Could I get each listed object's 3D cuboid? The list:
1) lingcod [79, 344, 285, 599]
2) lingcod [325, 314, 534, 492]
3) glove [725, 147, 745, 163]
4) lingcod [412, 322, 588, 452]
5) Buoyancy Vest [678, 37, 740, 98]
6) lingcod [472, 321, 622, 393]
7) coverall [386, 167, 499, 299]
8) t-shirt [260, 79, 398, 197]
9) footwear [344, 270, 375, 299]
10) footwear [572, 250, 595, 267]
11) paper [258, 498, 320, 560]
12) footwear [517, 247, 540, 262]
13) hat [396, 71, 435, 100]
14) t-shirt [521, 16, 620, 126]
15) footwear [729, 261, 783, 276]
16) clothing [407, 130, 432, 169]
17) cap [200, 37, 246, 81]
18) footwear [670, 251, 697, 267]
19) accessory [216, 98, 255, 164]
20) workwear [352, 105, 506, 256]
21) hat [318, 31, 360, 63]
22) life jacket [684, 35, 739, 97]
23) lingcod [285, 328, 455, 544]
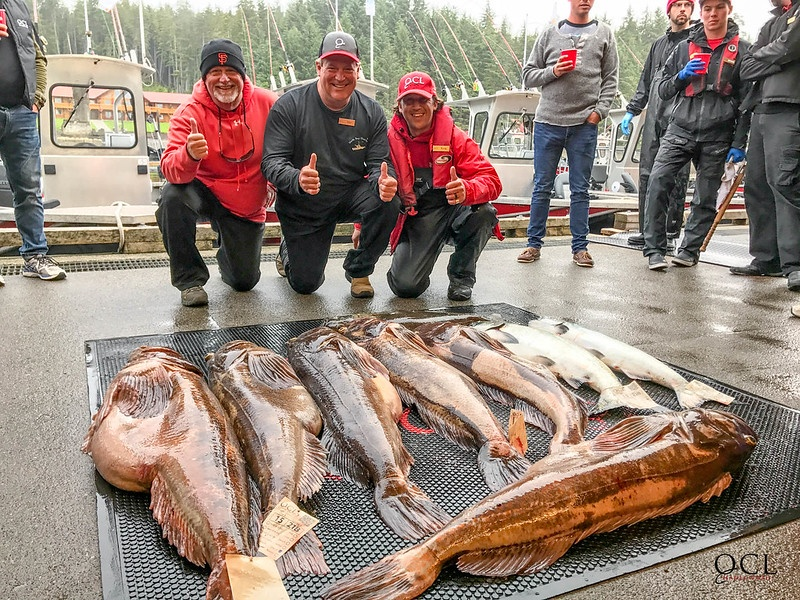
[{"bbox_3d":[-0.861,0.607,1.979,0.481,0.249,1.380,8,20,-33],"label":"lingcod"},{"bbox_3d":[0.052,0.404,2.756,0.530,0.396,1.652,-13,28,-23],"label":"lingcod"},{"bbox_3d":[3.932,-1.680,5.977,0.168,0.254,0.089,6,-4,34],"label":"glove"},{"bbox_3d":[0.452,0.375,2.920,1.181,0.473,0.276,26,31,31],"label":"lingcod"},{"bbox_3d":[3.589,-2.629,5.828,0.442,0.670,0.218,6,3,25],"label":"Buoyancy Vest"},{"bbox_3d":[0.854,0.203,3.102,0.331,0.339,0.891,-11,21,-27],"label":"lingcod"},{"bbox_3d":[0.338,-0.682,4.726,1.092,1.419,1.170,5,1,14],"label":"coverall"},{"bbox_3d":[-0.645,-1.356,4.359,1.064,0.769,1.028,-8,51,-20],"label":"t-shirt"},{"bbox_3d":[-0.374,-0.135,4.804,0.136,0.120,0.386,-1,16,-13],"label":"footwear"},{"bbox_3d":[2.307,-0.501,6.379,0.136,0.141,0.320,-5,11,-14],"label":"footwear"},{"bbox_3d":[-0.403,0.786,1.776,0.150,0.030,0.209,10,18,22],"label":"paper"},{"bbox_3d":[1.654,-0.564,6.558,0.138,0.157,0.365,4,8,43],"label":"footwear"},{"bbox_3d":[0.155,-1.811,4.389,0.341,0.225,0.265,1,22,0],"label":"hat"},{"bbox_3d":[2.171,-2.841,6.494,1.088,1.331,0.712,4,16,8],"label":"t-shirt"},{"bbox_3d":[4.122,-0.338,5.911,0.463,0.210,0.186,8,20,28],"label":"footwear"},{"bbox_3d":[0.190,-1.344,4.597,0.199,0.291,0.144,10,15,12],"label":"clothing"},{"bbox_3d":[-1.373,-1.846,4.028,0.298,0.319,0.323,-10,26,-34],"label":"cap"},{"bbox_3d":[3.563,-0.502,6.393,0.133,0.145,0.379,9,8,10],"label":"footwear"},{"bbox_3d":[-1.366,-1.371,4.224,0.260,0.479,0.118,-10,30,-20],"label":"accessory"},{"bbox_3d":[0.255,-1.129,4.733,1.303,1.312,0.797,1,13,26],"label":"workwear"},{"bbox_3d":[-0.492,-2.024,4.127,0.323,0.222,0.277,-3,23,-10],"label":"hat"},{"bbox_3d":[3.633,-2.697,5.948,0.544,0.751,0.405,8,14,22],"label":"life jacket"},{"bbox_3d":[-0.204,0.522,2.442,0.364,0.280,1.374,-15,35,-21],"label":"lingcod"}]
